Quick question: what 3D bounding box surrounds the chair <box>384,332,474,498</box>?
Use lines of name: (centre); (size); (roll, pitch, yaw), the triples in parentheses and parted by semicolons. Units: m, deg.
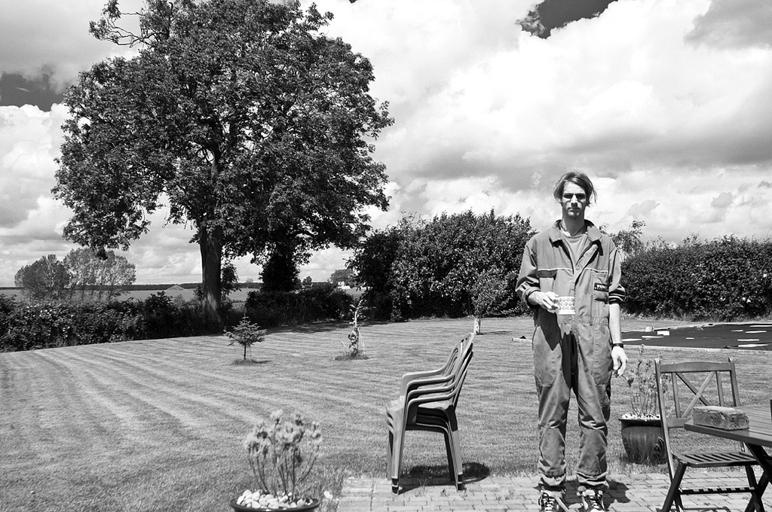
chair: (0.570, 2.018, 7.259); (1.117, 1.891, 0.890); (0, -2, 0)

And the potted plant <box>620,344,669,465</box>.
potted plant: (3.770, 2.249, 8.019); (0.688, 1.435, 0.679); (-3, -9, 35)
